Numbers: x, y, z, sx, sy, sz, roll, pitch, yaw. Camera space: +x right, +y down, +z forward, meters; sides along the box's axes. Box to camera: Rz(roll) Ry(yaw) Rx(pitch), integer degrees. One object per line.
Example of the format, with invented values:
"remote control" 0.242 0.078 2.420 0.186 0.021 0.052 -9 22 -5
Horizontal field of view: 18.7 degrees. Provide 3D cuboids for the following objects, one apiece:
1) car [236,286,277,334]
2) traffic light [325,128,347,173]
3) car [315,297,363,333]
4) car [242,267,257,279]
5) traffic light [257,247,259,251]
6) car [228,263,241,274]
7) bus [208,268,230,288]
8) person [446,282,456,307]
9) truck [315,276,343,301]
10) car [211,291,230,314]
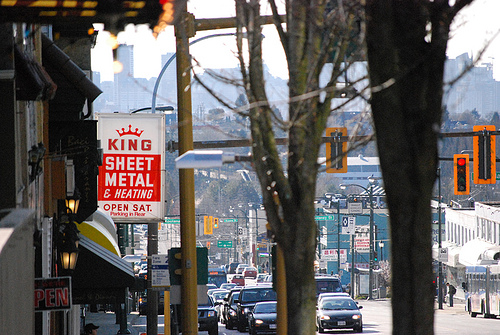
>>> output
"car" 0.315 5.980 64.972 1.641 1.518 2.982 0 -10 -9
"traffic light" 3.363 -0.628 59.467 0.929 1.765 0.187 -1 2 -21
"car" 3.728 6.282 64.041 1.756 1.688 1.928 5 -14 -30
"car" -0.050 8.785 124.191 1.047 0.783 1.899 1 1 -1
"traffic light" 0.729 7.784 142.461 0.217 0.394 0.228 -1 2 -13
"car" -1.542 10.095 148.970 1.476 1.205 2.514 0 4 0
"bus" -2.494 8.674 118.821 1.312 0.960 1.959 0 11 -1
"person" 11.686 7.575 88.616 0.370 1.291 1.061 -3 -12 6
"truck" 3.582 5.853 69.811 1.435 1.154 2.240 0 0 1
"car" -1.391 6.481 71.513 1.011 0.960 1.841 1 7 -1
